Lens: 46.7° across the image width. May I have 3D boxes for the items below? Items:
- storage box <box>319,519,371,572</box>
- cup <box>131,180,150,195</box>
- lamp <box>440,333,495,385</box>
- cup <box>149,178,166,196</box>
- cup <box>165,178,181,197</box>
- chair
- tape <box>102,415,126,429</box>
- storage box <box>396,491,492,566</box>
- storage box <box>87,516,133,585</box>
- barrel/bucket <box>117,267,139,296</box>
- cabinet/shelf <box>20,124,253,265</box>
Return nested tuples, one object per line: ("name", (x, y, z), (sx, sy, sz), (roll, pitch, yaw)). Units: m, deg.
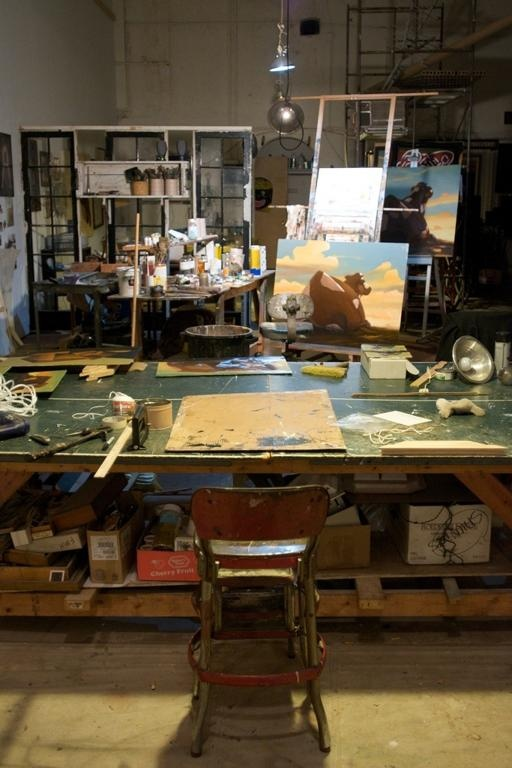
("storage box", (0.318, 0.591, 2.184), (0.187, 0.114, 0.183), (0, 8, 0))
("cup", (-1.387, -2.389, 7.263), (0.212, 0.200, 0.209), (1, 16, 0))
("lamp", (0.953, -0.081, 2.689), (0.222, 0.218, 0.090), (31, -30, -10))
("cup", (-1.208, -2.413, 7.260), (0.208, 0.219, 0.198), (2, 14, -1))
("cup", (-1.004, -2.419, 7.268), (0.213, 0.220, 0.199), (1, 18, 0))
("chair", (0.001, 0.607, 1.671), (0.497, 0.665, 0.524), (-1, -4, 13))
("tape", (-0.474, 0.131, 1.982), (0.077, 0.036, 0.080), (-1, 6, -7))
("storage box", (0.702, 0.521, 2.183), (0.251, 0.153, 0.248), (-1, 7, 2))
("storage box", (-0.518, 0.584, 2.171), (0.147, 0.186, 0.276), (-2, 2, 5))
("barrel/bucket", (-1.183, -0.928, 5.363), (0.143, 0.301, 0.418), (-2, 6, -13))
("cabinet/shelf", (-1.558, -2.323, 8.472), (3.118, 2.570, 1.208), (-1, -4, 0))
